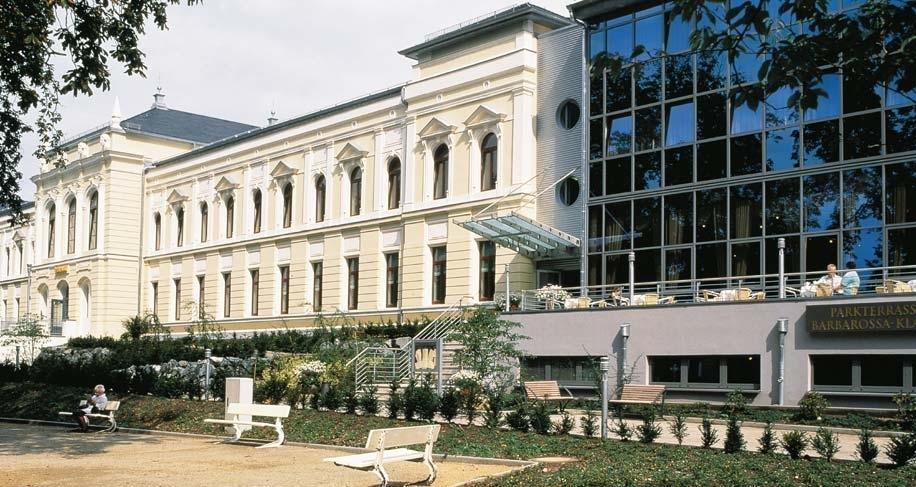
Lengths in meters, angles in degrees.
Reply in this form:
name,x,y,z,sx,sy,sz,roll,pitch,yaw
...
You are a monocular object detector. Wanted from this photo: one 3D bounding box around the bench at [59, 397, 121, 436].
name,x,y,z,sx,sy,sz,roll,pitch,yaw
bench,-16.455,8.083,51.402,4.219,1.429,1.381,-7,-13,36
